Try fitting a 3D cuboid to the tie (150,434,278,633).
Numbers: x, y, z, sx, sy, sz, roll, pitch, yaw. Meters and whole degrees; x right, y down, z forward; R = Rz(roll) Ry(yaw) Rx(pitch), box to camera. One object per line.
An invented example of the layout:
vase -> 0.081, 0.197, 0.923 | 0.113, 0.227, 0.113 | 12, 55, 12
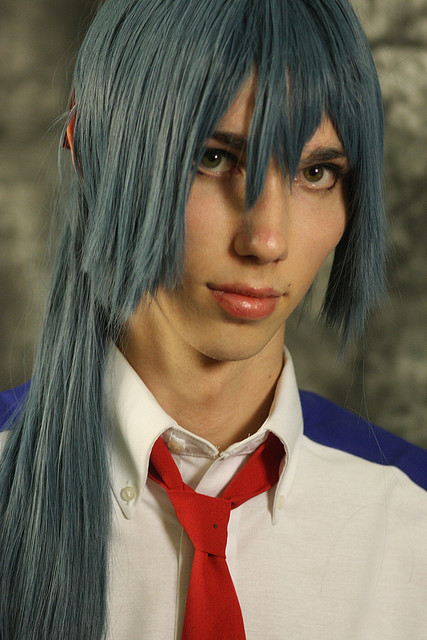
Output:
tie -> 0.019, 0.252, 0.807 | 0.167, 0.122, 0.228 | -13, 43, -2
